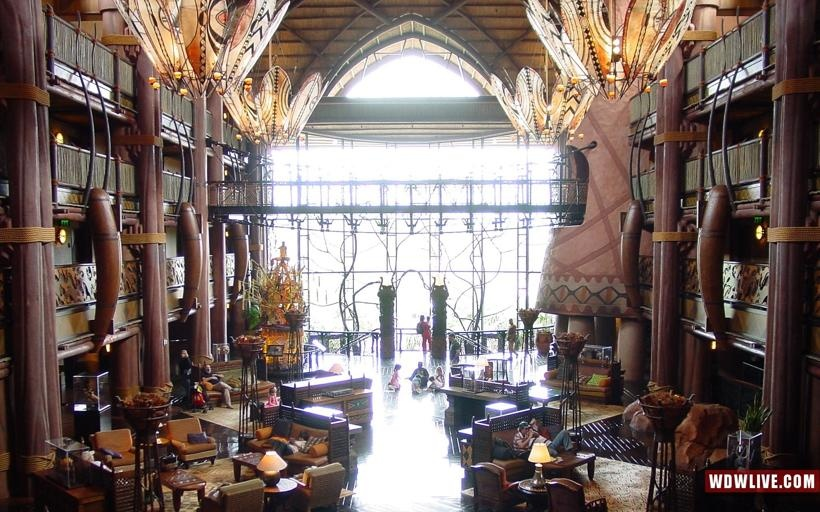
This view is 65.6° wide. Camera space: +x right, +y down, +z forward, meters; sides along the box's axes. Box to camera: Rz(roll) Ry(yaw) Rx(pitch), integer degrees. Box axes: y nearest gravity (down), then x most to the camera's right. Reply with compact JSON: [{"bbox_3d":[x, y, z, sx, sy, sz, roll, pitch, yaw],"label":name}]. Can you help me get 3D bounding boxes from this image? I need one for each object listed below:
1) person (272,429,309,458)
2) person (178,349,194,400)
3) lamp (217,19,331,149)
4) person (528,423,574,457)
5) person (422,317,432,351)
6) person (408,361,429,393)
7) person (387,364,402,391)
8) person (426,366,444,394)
[{"bbox_3d":[-2.687,4.236,14.182,0.994,0.608,0.450,-3,-6,-33],"label":"person"},{"bbox_3d":[-7.007,3.854,20.033,0.394,1.623,0.420,4,-30,-33],"label":"person"},{"bbox_3d":[-3.775,-4.710,18.128,2.350,1.874,2.756,2,-1,-2],"label":"lamp"},{"bbox_3d":[3.103,4.131,14.070,1.031,0.472,0.662,3,-7,-39],"label":"person"},{"bbox_3d":[0.664,3.011,24.161,0.358,1.320,0.974,-1,-5,3],"label":"person"},{"bbox_3d":[0.321,3.868,20.230,0.547,0.942,0.561,0,-5,-17],"label":"person"},{"bbox_3d":[-0.495,3.880,20.252,0.410,0.864,0.813,-1,-5,-2],"label":"person"},{"bbox_3d":[0.810,3.975,20.139,0.444,0.571,1.383,-5,-10,6],"label":"person"}]
